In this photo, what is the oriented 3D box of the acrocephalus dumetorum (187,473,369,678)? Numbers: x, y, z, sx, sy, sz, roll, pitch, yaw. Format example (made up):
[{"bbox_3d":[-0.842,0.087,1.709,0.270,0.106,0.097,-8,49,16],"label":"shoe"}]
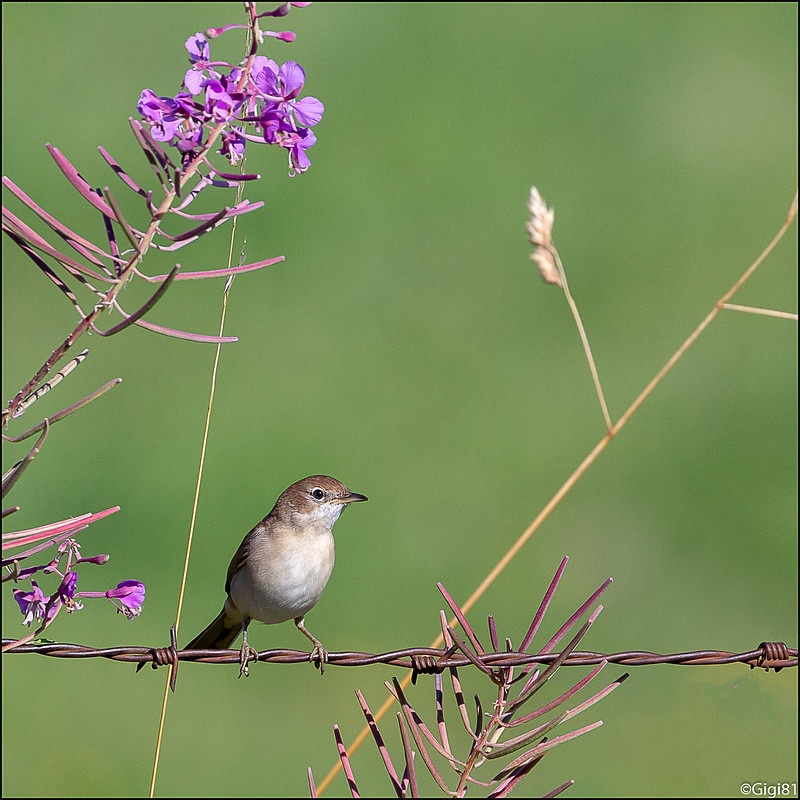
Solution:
[{"bbox_3d":[-0.475,0.592,4.103,0.648,0.296,0.703,1,-93,36],"label":"acrocephalus dumetorum"}]
